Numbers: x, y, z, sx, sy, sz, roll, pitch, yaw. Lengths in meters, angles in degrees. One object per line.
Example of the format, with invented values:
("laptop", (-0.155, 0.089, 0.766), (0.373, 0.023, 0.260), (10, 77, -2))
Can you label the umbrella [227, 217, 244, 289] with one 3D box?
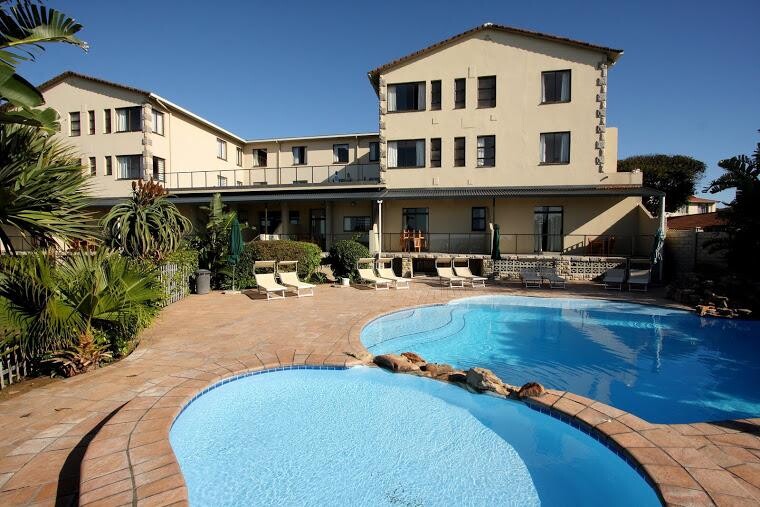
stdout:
("umbrella", (-6.481, -0.025, 22.913), (0.613, 3.333, 1.177), (0, 1, -17))

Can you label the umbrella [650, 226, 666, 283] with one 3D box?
("umbrella", (13.764, 0.057, 25.300), (0.482, 2.592, 0.495), (1, 2, 27))

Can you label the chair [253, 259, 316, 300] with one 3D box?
("chair", (-4.622, 1.141, 22.829), (1.737, 1.164, 2.288), (0, 3, -28))

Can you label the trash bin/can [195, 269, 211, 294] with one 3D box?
("trash bin/can", (-7.755, 1.217, 22.225), (0.554, 1.069, 0.370), (0, 1, -23))

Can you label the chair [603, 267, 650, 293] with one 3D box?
("chair", (11.768, 1.144, 24.129), (1.902, 1.095, 1.061), (2, 6, 42))

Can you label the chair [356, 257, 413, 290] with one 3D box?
("chair", (-0.186, 0.934, 25.179), (1.378, 0.970, 2.170), (-1, 2, -24))

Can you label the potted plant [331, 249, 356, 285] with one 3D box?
("potted plant", (-1.845, 0.666, 25.878), (0.863, 1.782, 1.226), (-1, 6, -44))
